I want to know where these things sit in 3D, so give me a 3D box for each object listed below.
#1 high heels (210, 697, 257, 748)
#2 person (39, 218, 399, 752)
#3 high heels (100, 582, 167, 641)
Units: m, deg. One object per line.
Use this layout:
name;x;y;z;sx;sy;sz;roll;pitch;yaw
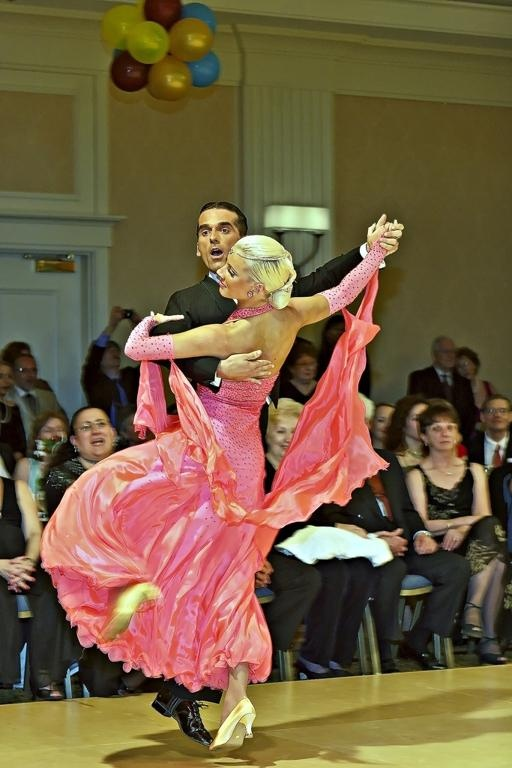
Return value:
high heels;-0.038;0.640;1.441;0.048;0.129;0.063;33;25;-30
person;-0.037;0.141;1.653;0.812;1.162;0.471;3;-12;-14
high heels;-0.247;0.449;1.549;0.085;0.140;0.059;28;5;6
